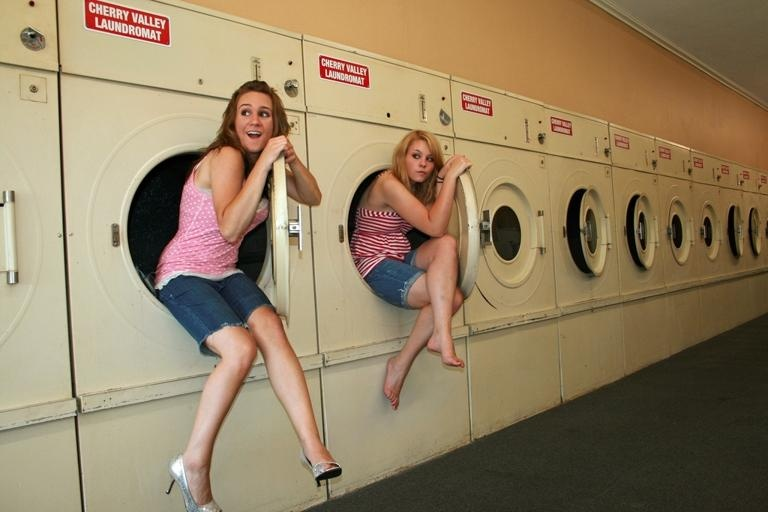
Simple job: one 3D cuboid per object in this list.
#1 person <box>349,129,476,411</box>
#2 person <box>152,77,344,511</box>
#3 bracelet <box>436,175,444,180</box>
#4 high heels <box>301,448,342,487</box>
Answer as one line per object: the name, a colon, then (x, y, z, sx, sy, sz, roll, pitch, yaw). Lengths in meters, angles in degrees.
person: (0.165, 0.069, 3.443, 0.749, 1.627, 0.486, 2, 8, 28)
person: (-0.702, 0.141, 2.784, 0.817, 1.988, 0.657, -4, 8, -10)
bracelet: (0.334, -0.468, 3.401, 0.029, 0.033, 0.018, 2, 6, 23)
high heels: (-0.325, 1.013, 2.752, 0.104, 0.091, 0.283, 10, -14, -27)
